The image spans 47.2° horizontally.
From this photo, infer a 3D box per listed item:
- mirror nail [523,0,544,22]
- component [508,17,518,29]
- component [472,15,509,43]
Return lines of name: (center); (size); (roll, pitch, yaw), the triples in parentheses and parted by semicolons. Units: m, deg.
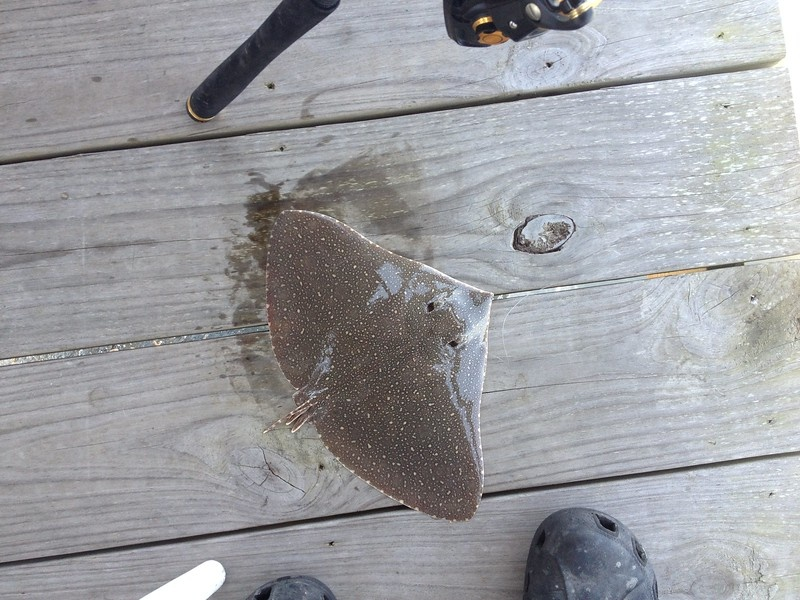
mirror nail: (0.372, -0.804, 2.547); (0.030, 0.047, 0.044); (-36, 106, -17)
component: (0.324, -0.792, 2.613); (0.025, 0.024, 0.017); (40, 83, -32)
component: (0.267, -0.800, 2.715); (0.076, 0.068, 0.021); (0, 70, 20)
